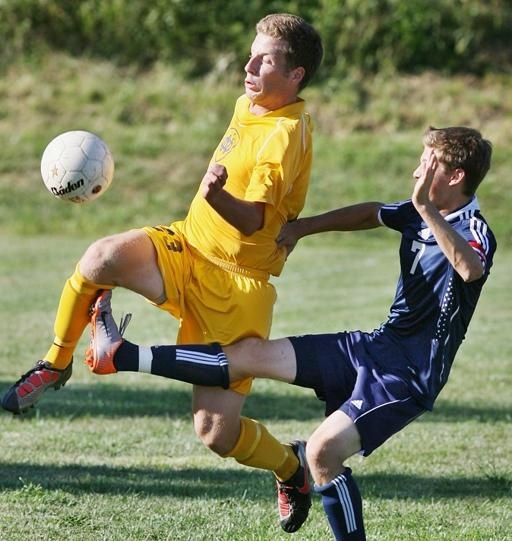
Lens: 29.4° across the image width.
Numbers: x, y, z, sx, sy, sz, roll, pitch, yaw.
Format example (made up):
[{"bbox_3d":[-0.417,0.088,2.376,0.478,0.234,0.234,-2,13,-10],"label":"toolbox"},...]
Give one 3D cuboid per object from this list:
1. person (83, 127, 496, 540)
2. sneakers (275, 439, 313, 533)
[{"bbox_3d":[0.363,0.281,5.311,1.759,2.223,0.798,5,9,-5],"label":"person"},{"bbox_3d":[0.276,1.275,5.759,0.173,0.478,0.244,-10,-25,36],"label":"sneakers"}]
